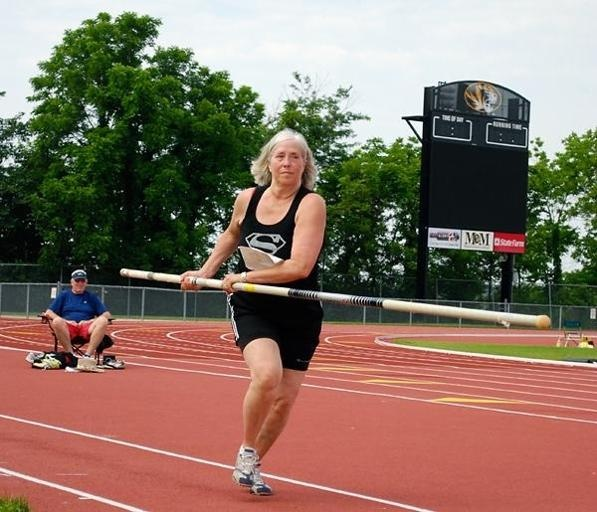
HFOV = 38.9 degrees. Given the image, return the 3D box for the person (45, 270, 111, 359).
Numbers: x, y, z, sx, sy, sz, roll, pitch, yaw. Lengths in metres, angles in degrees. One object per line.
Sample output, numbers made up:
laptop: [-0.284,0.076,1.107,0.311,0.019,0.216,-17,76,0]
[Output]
person: [-3.336,0.882,12.700,0.937,1.344,0.716,-2,-2,-13]

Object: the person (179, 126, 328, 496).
person: [-0.211,0.358,5.807,0.702,2.536,0.874,-2,-2,-32]
